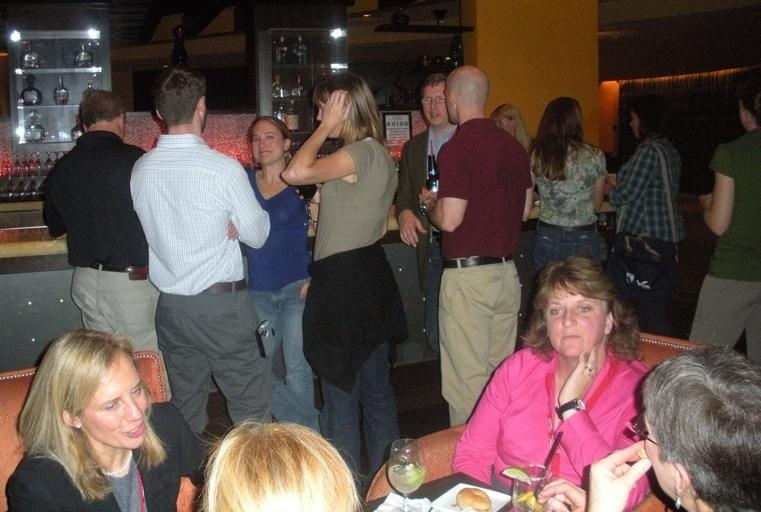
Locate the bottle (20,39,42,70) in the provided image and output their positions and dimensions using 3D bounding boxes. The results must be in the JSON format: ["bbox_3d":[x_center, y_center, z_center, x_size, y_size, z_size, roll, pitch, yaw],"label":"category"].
[{"bbox_3d":[-3.343,-1.919,5.777,0.147,0.259,0.126,-1,11,9],"label":"bottle"}]

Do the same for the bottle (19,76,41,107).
[{"bbox_3d":[-3.339,-1.576,5.755,0.195,0.285,0.089,-8,12,-22],"label":"bottle"}]

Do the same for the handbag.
[{"bbox_3d":[1.687,0.064,3.866,0.426,0.379,0.238,13,27,38],"label":"handbag"}]

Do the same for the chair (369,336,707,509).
[{"bbox_3d":[0.583,0.641,2.620,0.981,0.968,0.733,-2,7,-21],"label":"chair"}]

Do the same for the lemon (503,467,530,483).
[{"bbox_3d":[0.459,0.716,2.006,0.029,0.055,0.121,16,-16,-38],"label":"lemon"}]
